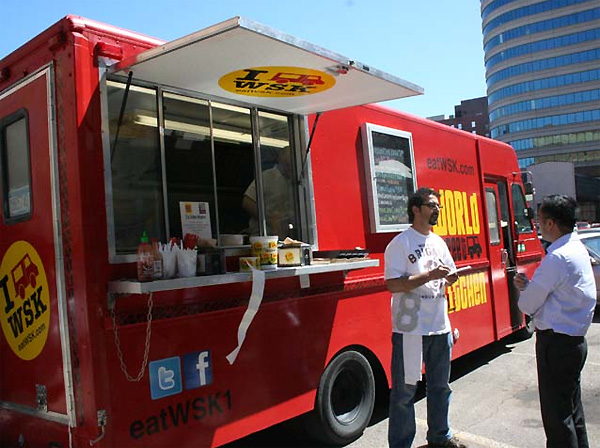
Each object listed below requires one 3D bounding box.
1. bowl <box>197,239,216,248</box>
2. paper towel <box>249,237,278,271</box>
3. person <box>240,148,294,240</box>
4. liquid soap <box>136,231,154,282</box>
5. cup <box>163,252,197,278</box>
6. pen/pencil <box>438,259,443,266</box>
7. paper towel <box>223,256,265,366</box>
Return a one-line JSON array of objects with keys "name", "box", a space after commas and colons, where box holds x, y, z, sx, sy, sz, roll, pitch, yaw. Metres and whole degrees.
[{"name": "bowl", "box": [-0.703, 0.151, 3.426, 0.131, 0.067, 0.071, -3, -2, -15]}, {"name": "paper towel", "box": [-0.301, 0.238, 3.720, 0.258, 0.278, 0.267, -7, -6, 28]}, {"name": "person", "box": [-0.324, -0.272, 4.268, 0.340, 0.832, 0.426, -3, 7, -36]}, {"name": "liquid soap", "box": [-1.034, 0.227, 3.050, 0.100, 0.294, 0.174, -2, -2, -25]}, {"name": "cup", "box": [-0.819, 0.289, 3.160, 0.197, 0.156, 0.158, -5, -9, 15]}, {"name": "pen/pencil", "box": [1.247, 0.350, 4.098, 0.014, 0.068, 0.011, -48, 20, -17]}, {"name": "paper towel", "box": [-0.319, 0.659, 3.477, 0.223, 0.881, 0.287, 18, -12, -29]}]
